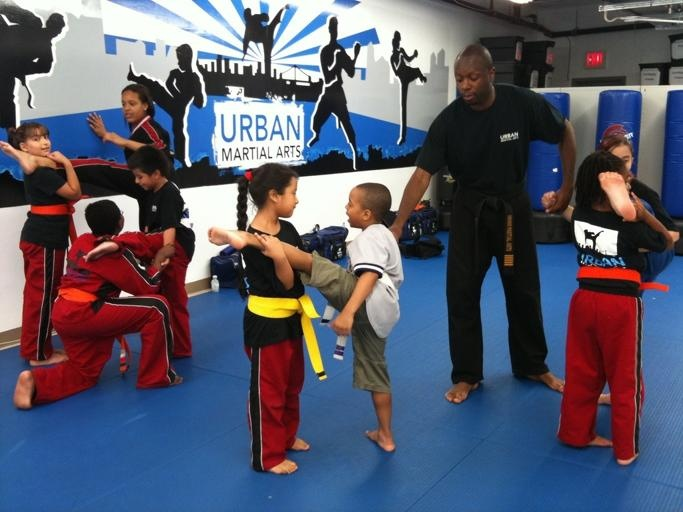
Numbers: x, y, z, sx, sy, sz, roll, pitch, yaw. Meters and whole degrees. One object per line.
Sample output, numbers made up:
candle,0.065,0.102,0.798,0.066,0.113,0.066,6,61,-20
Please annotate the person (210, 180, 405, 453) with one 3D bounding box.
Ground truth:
person,-0.134,0.278,2.529,0.941,1.265,0.624,1,-3,-14

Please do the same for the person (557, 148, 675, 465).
person,1.365,0.255,2.592,0.453,1.517,0.409,6,15,26

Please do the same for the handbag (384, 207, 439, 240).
handbag,1.149,-0.512,7.683,0.458,0.284,0.787,3,10,30

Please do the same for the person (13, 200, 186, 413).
person,-1.615,0.277,3.381,1.007,1.205,0.736,-2,13,-26

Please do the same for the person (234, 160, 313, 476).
person,-0.324,0.306,2.486,0.305,1.475,0.375,-3,14,-10

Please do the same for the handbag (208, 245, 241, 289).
handbag,-1.215,0.140,5.526,0.391,0.398,0.354,2,18,15

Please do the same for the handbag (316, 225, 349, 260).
handbag,-0.098,-0.131,6.479,0.399,0.370,0.377,-11,13,-37
